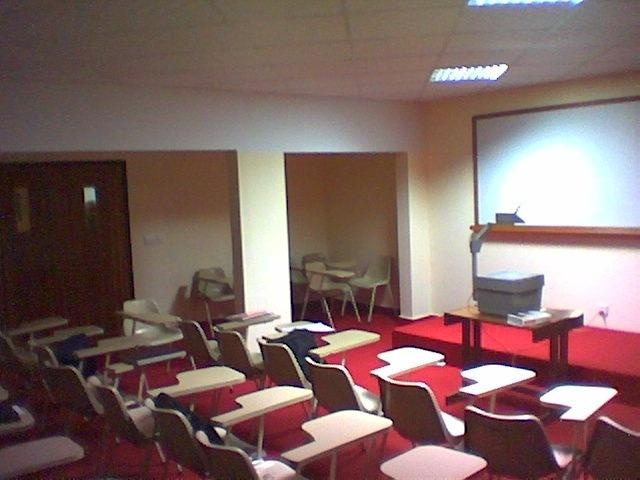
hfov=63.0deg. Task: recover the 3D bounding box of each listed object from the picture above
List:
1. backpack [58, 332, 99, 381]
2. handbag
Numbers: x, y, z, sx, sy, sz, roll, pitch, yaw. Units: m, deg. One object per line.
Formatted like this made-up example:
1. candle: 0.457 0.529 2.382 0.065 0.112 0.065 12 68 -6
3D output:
1. backpack: -2.146 1.034 4.722 0.345 0.436 0.328 3 8 37
2. handbag: -0.876 1.185 3.430 0.506 0.306 0.187 -1 2 27
